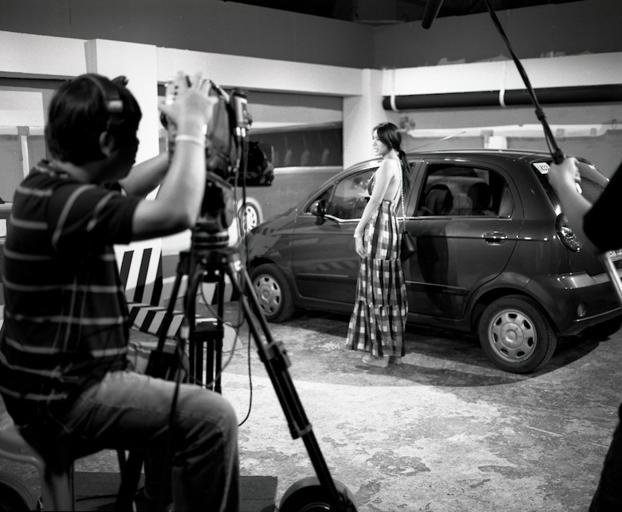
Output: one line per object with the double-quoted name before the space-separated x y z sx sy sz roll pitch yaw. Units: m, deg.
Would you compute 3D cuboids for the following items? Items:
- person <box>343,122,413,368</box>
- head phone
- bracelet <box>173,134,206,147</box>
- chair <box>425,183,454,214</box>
"person" 0.651 -0.104 4.958 0.563 2.392 0.319 0 7 3
"head phone" -0.561 -0.406 1.450 0.141 0.192 0.207 -2 3 -3
"bracelet" -0.336 -0.327 1.405 0.086 0.033 0.055 -6 9 -30
"chair" 1.338 -0.603 5.237 0.243 0.362 0.183 7 -11 -17
